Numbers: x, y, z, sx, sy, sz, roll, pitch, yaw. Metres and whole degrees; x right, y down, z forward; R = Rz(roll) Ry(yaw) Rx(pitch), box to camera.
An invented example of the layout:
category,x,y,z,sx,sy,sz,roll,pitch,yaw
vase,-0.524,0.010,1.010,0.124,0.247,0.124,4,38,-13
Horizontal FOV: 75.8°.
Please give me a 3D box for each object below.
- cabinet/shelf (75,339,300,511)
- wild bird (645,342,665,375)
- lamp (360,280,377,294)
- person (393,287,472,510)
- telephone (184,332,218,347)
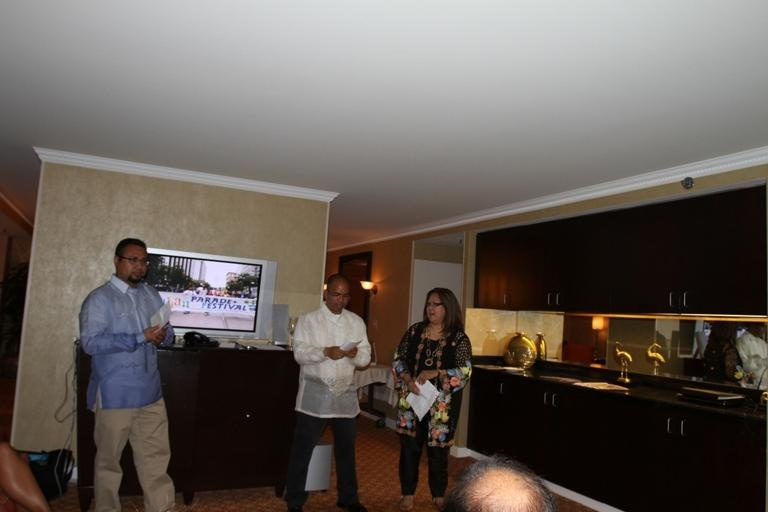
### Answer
category,x,y,z,sx,sy,sz,roll,pitch,yaw
cabinet/shelf,-1.812,1.570,4.452,1.595,1.348,0.576,0,0,-14
wild bird,2.950,1.117,5.363,0.105,0.292,0.172,-7,7,-21
lamp,-0.282,0.569,9.189,0.250,0.191,0.242,6,0,-19
person,0.429,1.348,4.658,0.744,2.093,0.409,1,-7,15
telephone,-1.826,0.851,4.909,0.276,0.124,0.161,31,-23,-28
